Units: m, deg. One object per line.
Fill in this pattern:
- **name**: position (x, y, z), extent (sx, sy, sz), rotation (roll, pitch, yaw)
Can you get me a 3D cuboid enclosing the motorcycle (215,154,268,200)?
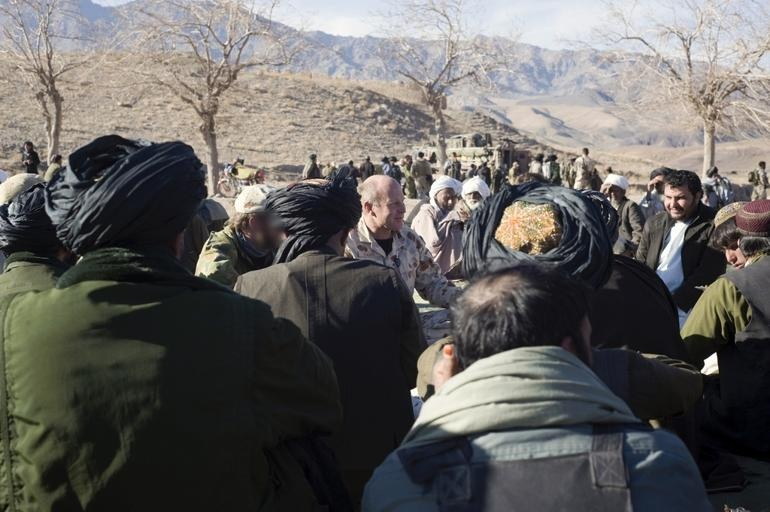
- **motorcycle**: position (-5.013, -3.128, 28.368), extent (1.430, 0.832, 0.874), rotation (6, -20, -13)
